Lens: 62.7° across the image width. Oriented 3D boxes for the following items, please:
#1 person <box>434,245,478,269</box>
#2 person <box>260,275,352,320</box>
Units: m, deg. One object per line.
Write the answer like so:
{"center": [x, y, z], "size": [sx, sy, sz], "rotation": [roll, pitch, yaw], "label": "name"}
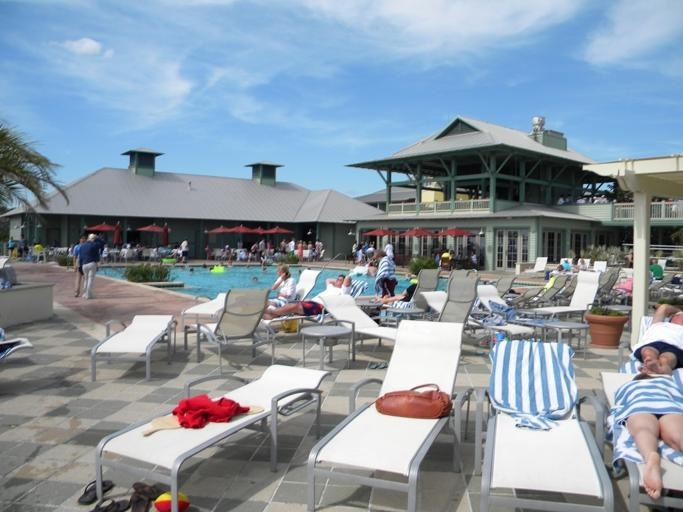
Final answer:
{"center": [5.980, 0.232, 29.059], "size": [1.821, 0.896, 1.598], "rotation": [-1, 4, -8], "label": "person"}
{"center": [-0.522, 0.775, 10.101], "size": [1.370, 0.334, 0.681], "rotation": [-4, 2, -25], "label": "person"}
